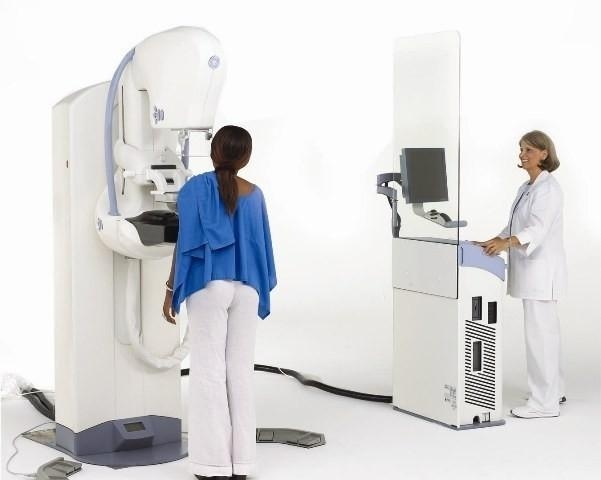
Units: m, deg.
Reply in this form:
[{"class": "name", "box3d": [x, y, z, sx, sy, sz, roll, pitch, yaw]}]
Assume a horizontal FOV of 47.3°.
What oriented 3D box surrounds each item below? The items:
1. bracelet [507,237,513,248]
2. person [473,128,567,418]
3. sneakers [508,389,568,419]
[{"class": "bracelet", "box3d": [1.371, 0.021, 4.509, 0.013, 0.057, 0.056, 4, 21, -5]}, {"class": "person", "box3d": [1.582, 0.204, 4.677, 0.485, 1.893, 0.769, 3, 6, 23]}, {"class": "sneakers", "box3d": [1.599, 1.123, 4.685, 0.368, 0.298, 0.159, 4, -13, 10]}]
